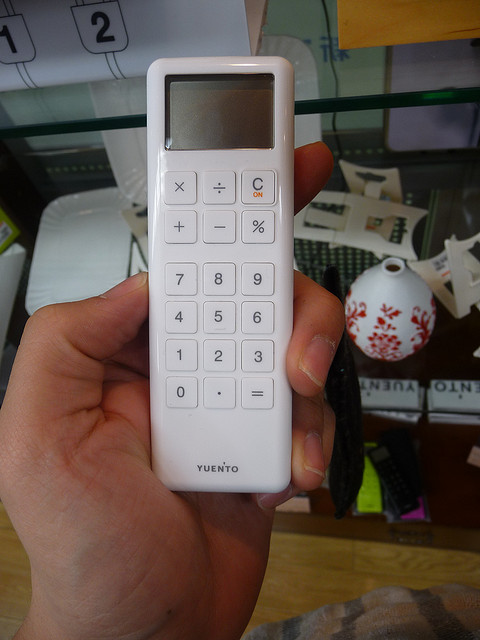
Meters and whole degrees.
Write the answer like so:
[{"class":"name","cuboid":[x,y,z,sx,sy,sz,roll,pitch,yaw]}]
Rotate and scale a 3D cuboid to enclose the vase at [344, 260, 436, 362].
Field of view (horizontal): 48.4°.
[{"class":"vase","cuboid":[0.125,-0.022,0.509,0.085,0.110,0.088,-3,60,6]}]
